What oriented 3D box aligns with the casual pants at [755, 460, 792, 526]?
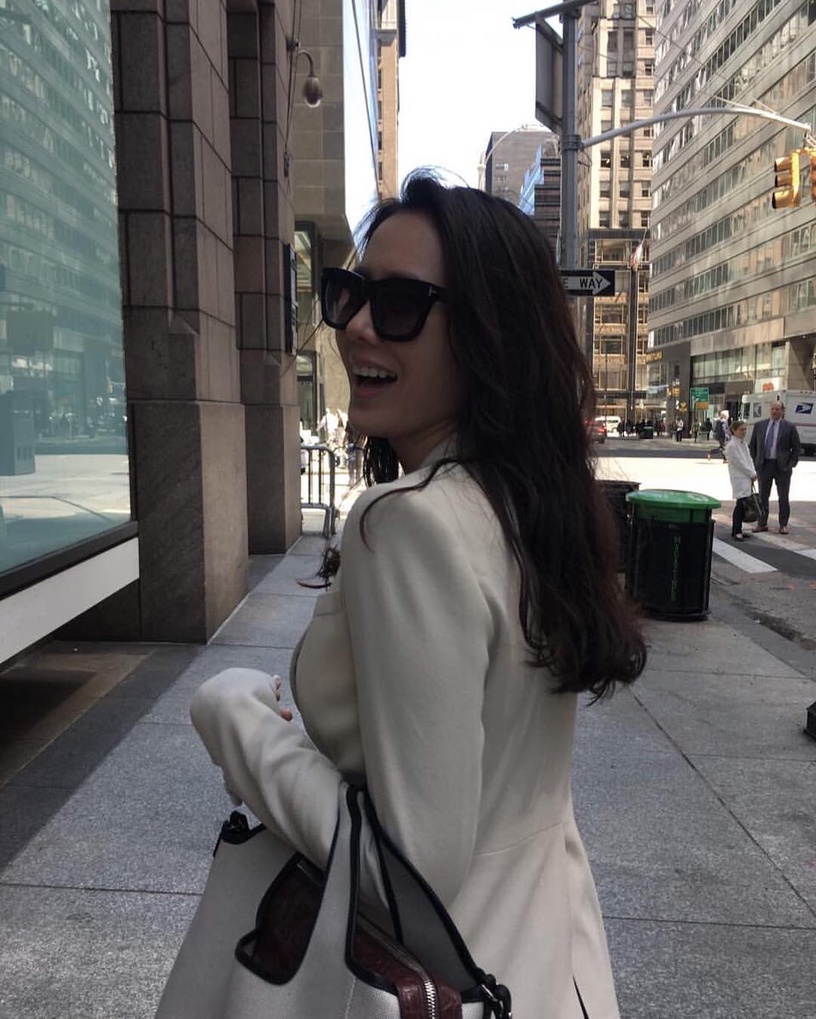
[{"bbox_3d":[6.323,-0.416,14.966,0.510,1.519,0.423,-2,36,20],"label":"casual pants"}]
